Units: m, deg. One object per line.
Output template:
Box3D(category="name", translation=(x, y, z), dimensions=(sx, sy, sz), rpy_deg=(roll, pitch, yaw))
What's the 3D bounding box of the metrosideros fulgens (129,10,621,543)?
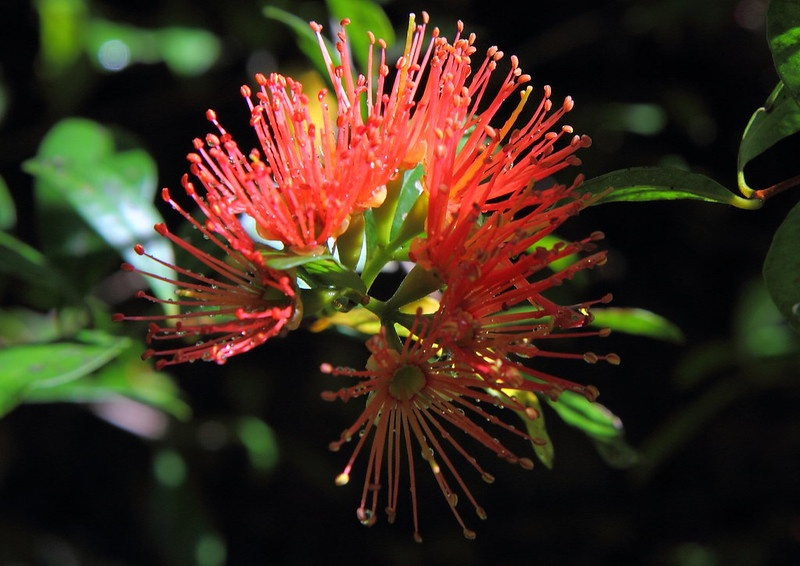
Box3D(category="metrosideros fulgens", translation=(0.007, -0.120, 1.801), dimensions=(0.959, 0.983, 1.047), rpy_deg=(-20, -77, 4))
